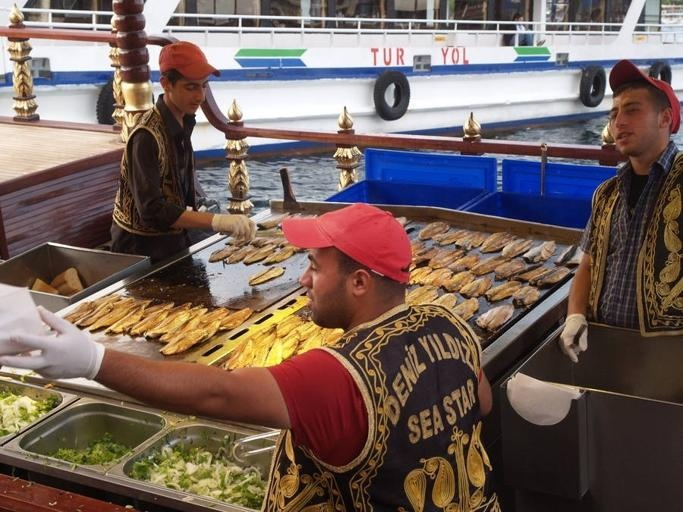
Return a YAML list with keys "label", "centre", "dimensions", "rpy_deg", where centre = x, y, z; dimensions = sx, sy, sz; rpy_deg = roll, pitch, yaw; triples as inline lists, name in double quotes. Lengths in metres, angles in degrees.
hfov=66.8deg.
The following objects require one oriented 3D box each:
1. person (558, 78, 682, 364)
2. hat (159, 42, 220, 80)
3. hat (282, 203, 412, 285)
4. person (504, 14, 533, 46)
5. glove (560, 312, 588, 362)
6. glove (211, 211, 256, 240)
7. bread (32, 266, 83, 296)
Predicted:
- label: "person"
  centre: [1.614, -0.165, 3.074]
  dimensions: [0.385, 1.660, 0.788]
  rpy_deg: [10, 21, 24]
- label: "hat"
  centre: [-1.152, -1.469, 3.888]
  dimensions: [0.432, 0.183, 0.262]
  rpy_deg: [7, 23, 21]
- label: "hat"
  centre: [0.060, -0.064, 1.691]
  dimensions: [0.401, 0.161, 0.240]
  rpy_deg: [22, 10, -5]
- label: "person"
  centre: [5.990, -7.845, 17.826]
  dimensions: [0.754, 1.338, 0.630]
  rpy_deg: [17, 55, 35]
- label: "glove"
  centre: [1.339, 0.473, 3.003]
  dimensions: [0.125, 0.252, 0.202]
  rpy_deg: [19, -11, -34]
- label: "glove"
  centre: [-0.811, -0.232, 3.984]
  dimensions: [0.284, 0.110, 0.218]
  rpy_deg: [9, 4, 30]
- label: "bread"
  centre: [-2.152, 0.230, 4.053]
  dimensions: [0.321, 0.101, 0.291]
  rpy_deg: [-12, 17, 11]
